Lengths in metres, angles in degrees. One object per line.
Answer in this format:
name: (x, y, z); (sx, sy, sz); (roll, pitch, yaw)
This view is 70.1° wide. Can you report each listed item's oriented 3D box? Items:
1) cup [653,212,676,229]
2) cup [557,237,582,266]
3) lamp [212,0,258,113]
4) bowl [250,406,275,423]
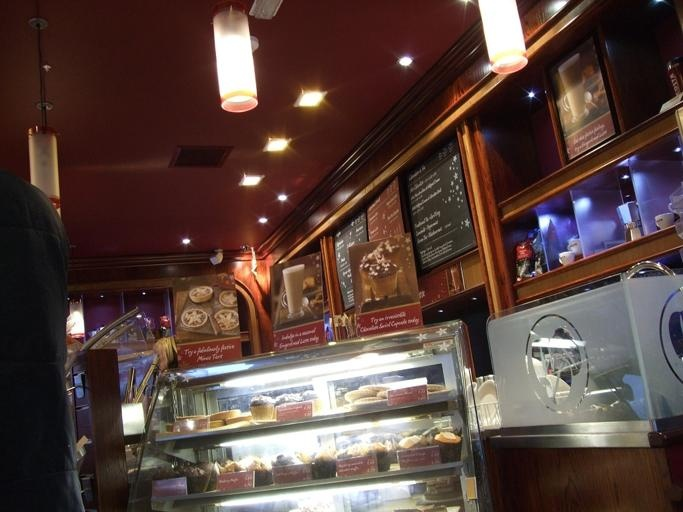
cup: (1.911, -0.211, 2.879); (0.089, 0.077, 0.073); (-8, -9, 39)
cup: (1.678, -0.032, 3.546); (0.181, 0.166, 0.175); (2, -11, 0)
lamp: (-0.517, -0.971, 2.349); (0.183, 0.555, 0.209); (-2, -17, -14)
bowl: (-0.382, 0.767, 2.373); (0.079, 0.057, 0.087); (-2, -37, -2)
